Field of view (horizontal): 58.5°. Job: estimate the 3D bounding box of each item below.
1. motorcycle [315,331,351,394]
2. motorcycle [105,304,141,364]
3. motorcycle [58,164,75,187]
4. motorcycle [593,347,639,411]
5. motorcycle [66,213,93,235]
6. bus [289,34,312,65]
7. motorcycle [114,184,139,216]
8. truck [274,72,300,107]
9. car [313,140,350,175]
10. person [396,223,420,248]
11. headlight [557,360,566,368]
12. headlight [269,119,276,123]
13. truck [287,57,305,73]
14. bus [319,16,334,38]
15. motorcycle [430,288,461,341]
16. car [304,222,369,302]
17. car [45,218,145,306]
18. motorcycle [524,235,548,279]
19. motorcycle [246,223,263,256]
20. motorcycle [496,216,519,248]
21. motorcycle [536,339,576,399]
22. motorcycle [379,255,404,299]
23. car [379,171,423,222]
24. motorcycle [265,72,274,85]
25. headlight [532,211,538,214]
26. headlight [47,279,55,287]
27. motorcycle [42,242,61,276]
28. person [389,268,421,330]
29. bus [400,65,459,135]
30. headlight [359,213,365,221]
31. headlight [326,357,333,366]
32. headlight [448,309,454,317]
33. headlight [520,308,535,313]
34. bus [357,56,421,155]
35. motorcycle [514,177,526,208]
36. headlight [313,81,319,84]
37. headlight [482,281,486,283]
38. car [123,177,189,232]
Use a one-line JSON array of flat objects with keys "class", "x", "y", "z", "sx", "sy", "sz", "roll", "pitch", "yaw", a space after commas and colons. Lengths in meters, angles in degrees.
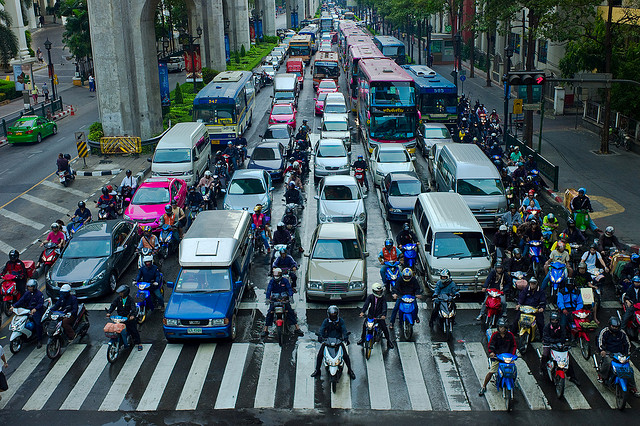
[{"class": "motorcycle", "x": 0.409, "y": 4.436, "z": 17.107, "sx": 0.797, "sy": 1.153, "sz": 1.660, "roll": 0, "pitch": 11, "yaw": 3}, {"class": "motorcycle", "x": -6.554, "y": 3.905, "z": 19.090, "sx": 0.665, "sy": 1.243, "sz": 1.917, "roll": 3, "pitch": 26, "yaw": 14}, {"class": "motorcycle", "x": -14.794, "y": -2.230, "z": 33.624, "sx": 0.550, "sy": 0.830, "sz": 1.326, "roll": -8, "pitch": 35, "yaw": 4}, {"class": "motorcycle", "x": 8.743, "y": 4.732, "z": 16.771, "sx": 0.611, "sy": 1.328, "sz": 1.467, "roll": -5, "pitch": 25, "yaw": -5}, {"class": "motorcycle", "x": -10.994, "y": 0.513, "z": 25.938, "sx": 0.719, "sy": 0.595, "sz": 1.125, "roll": -2, "pitch": 26, "yaw": 3}, {"class": "bus", "x": -2.647, "y": -22.118, "z": 77.800, "sx": 2.782, "sy": 2.801, "sz": 5.650, "roll": 0, "pitch": 26, "yaw": 4}, {"class": "motorcycle", "x": -10.213, "y": -0.640, "z": 29.594, "sx": 0.965, "sy": 1.227, "sz": 1.791, "roll": -1, "pitch": 35, "yaw": 2}, {"class": "truck", "x": -2.881, "y": -10.562, "z": 48.767, "sx": 1.803, "sy": 1.999, "sz": 3.587, "roll": -1, "pitch": 26, "yaw": 1}, {"class": "car", "x": 0.721, "y": -3.609, "z": 34.602, "sx": 2.068, "sy": 2.026, "sz": 5.290, "roll": 0, "pitch": 22, "yaw": 2}, {"class": "person", "x": 3.632, "y": 0.942, "z": 23.462, "sx": 0.762, "sy": 1.403, "sz": 0.437, "roll": -6, "pitch": 10, "yaw": -4}, {"class": "headlight", "x": 7.123, "y": 4.466, "z": 16.849, "sx": 0.153, "sy": 0.048, "sz": 0.192, "roll": -7, "pitch": 27, "yaw": 15}, {"class": "headlight", "x": -3.452, "y": -6.742, "z": 41.870, "sx": 0.425, "sy": 0.150, "sz": 0.485, "roll": -3, "pitch": 26, "yaw": -1}, {"class": "truck", "x": -2.629, "y": -15.661, "z": 60.728, "sx": 1.629, "sy": 1.477, "sz": 2.786, "roll": 0, "pitch": 30, "yaw": 3}, {"class": "bus", "x": 1.485, "y": -41.063, "z": 126.385, "sx": 3.123, "sy": 4.098, "sz": 8.735, "roll": -1, "pitch": 29, "yaw": 1}, {"class": "motorcycle", "x": 4.233, "y": 3.364, "z": 19.300, "sx": 0.711, "sy": 0.969, "sz": 1.486, "roll": -2, "pitch": 11, "yaw": 5}, {"class": "car", "x": 0.709, "y": 1.744, "z": 23.035, "sx": 2.346, "sy": 2.092, "sz": 5.708, "roll": 0, "pitch": 16, "yaw": 2}, {"class": "car", "x": -9.259, "y": 1.626, "z": 23.887, "sx": 2.409, "sy": 2.038, "sz": 6.024, "roll": -1, "pitch": 17, "yaw": 2}, {"class": "motorcycle", "x": 8.693, "y": 1.564, "z": 23.299, "sx": 0.865, "sy": 1.512, "sz": 2.455, "roll": 4, "pitch": 16, "yaw": 18}, {"class": "motorcycle", "x": -2.782, "y": 1.160, "z": 24.581, "sx": 0.575, "sy": 0.666, "sz": 1.017, "roll": -4, "pitch": 30, "yaw": 4}, {"class": "motorcycle", "x": 7.921, "y": 0.965, "z": 24.124, "sx": 0.650, "sy": 0.795, "sz": 1.138, "roll": -7, "pitch": 16, "yaw": 10}, {"class": "motorcycle", "x": 7.004, "y": 4.634, "z": 17.046, "sx": 0.738, "sy": 1.280, "sz": 1.094, "roll": 7, "pitch": 27, "yaw": 21}, {"class": "motorcycle", "x": 2.779, "y": 2.261, "z": 22.254, "sx": 0.702, "sy": 1.508, "sz": 2.400, "roll": -4, "pitch": 9, "yaw": 6}, {"class": "car", "x": 3.915, "y": -0.895, "z": 28.127, "sx": 1.200, "sy": 0.982, "sz": 2.818, "roll": -3, "pitch": 24, "yaw": 3}, {"class": "motorcycle", "x": -5.572, "y": -14.593, "z": 62.323, "sx": 0.872, "sy": 1.282, "sz": 0.561, "roll": -9, "pitch": 25, "yaw": -13}, {"class": "headlight", "x": 9.437, "y": 0.002, "z": 25.127, "sx": 0.180, "sy": 0.091, "sz": 0.211, "roll": 4, "pitch": 27, "yaw": 14}, {"class": "headlight", "x": -10.030, "y": 2.619, "z": 21.370, "sx": 0.161, "sy": 0.087, "sz": 0.244, "roll": -3, "pitch": 48, "yaw": -12}, {"class": "motorcycle", "x": -11.428, "y": 1.769, "z": 24.404, "sx": 0.638, "sy": 1.239, "sz": 2.068, "roll": 5, "pitch": 13, "yaw": -14}, {"class": "person", "x": 2.915, "y": 2.746, "z": 19.211, "sx": 1.062, "sy": 1.302, "sz": 1.976, "roll": 1, "pitch": 41, "yaw": 6}, {"class": "bus", "x": 8.110, "y": -8.934, "z": 42.565, "sx": 2.105, "sy": 2.646, "sz": 8.590, "roll": -2, "pitch": 26, "yaw": -1}, {"class": "headlight", "x": 1.887, "y": 0.194, "z": 25.905, "sx": 0.197, "sy": 0.116, "sz": 0.301, "roll": 1, "pitch": 37, "yaw": 4}, {"class": "headlight", "x": 0.280, "y": 4.446, "z": 17.020, "sx": 0.054, "sy": 0.176, "sz": 0.161, "roll": -11, "pitch": 10, "yaw": -32}, {"class": "headlight", "x": 4.403, "y": 3.415, "z": 19.209, "sx": 0.113, "sy": 0.311, "sz": 0.060, "roll": 12, "pitch": 0, "yaw": 44}, {"class": "headlight", "x": 6.662, "y": 3.149, "z": 18.357, "sx": 0.240, "sy": 0.145, "sz": 0.074, "roll": 2, "pitch": -12, "yaw": 17}, {"class": "bus", "x": 4.396, "y": -7.774, "z": 41.048, "sx": 3.449, "sy": 5.586, "sz": 12.105, "roll": 0, "pitch": 20, "yaw": 1}, {"class": "motorcycle", "x": 10.415, "y": -1.207, "z": 29.862, "sx": 0.524, "sy": 1.415, "sz": 0.994, "roll": 6, "pitch": 26, "yaw": 19}, {"class": "headlight", "x": -0.401, "y": -13.393, "z": 58.532, "sx": 0.520, "sy": 0.136, "sz": 0.567, "roll": -4, "pitch": 52, "yaw": -18}, {"class": "headlight", "x": 5.984, "y": 2.521, "z": 20.912, "sx": 0.132, "sy": 0.037, "sz": 0.153, "roll": 1, "pitch": 20, "yaw": 22}, {"class": "car", "x": -7.786, "y": -0.570, "z": 26.980, "sx": 1.714, "sy": 1.421, "sz": 3.893, "roll": 0, "pitch": 23, "yaw": 1}]
